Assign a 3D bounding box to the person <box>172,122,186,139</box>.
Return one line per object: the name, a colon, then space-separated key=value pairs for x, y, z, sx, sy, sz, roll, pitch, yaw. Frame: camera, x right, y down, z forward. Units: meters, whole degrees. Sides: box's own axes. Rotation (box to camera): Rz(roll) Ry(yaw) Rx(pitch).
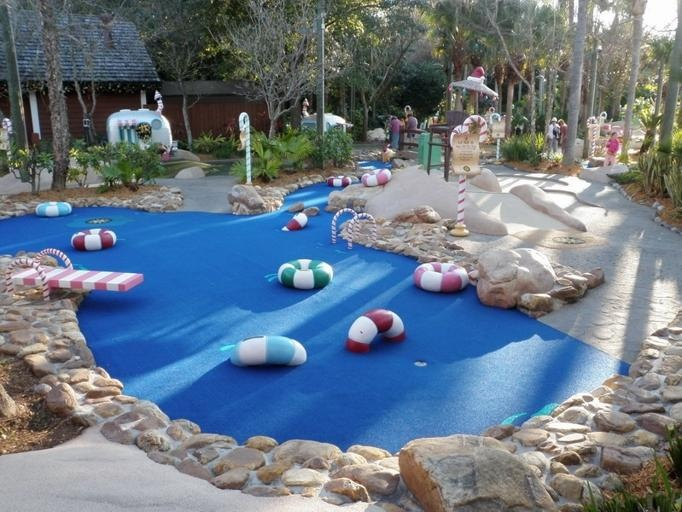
person: x=-9.243 y=-7.228 z=27.954 sx=0.754 sy=0.933 sz=0.257 roll=-4 pitch=14 yaw=-14
